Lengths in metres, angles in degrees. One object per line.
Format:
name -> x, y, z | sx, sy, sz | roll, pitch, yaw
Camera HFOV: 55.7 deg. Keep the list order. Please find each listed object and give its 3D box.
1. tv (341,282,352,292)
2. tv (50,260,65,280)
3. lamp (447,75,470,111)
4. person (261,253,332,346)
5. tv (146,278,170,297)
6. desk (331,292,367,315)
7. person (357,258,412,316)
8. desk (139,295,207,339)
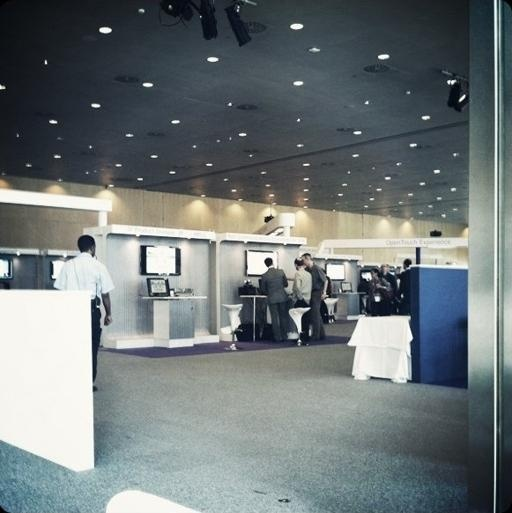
tv -> 3.210, 1.034, 17.150 | 0.280, 0.389, 0.636 | -1, -1, 23
tv -> -4.038, 0.249, 9.802 | 0.357, 0.493, 0.049 | 2, -2, -16
lamp -> 3.034, -2.434, 7.249 | 0.262, 0.584, 0.751 | -1, -1, 24
person -> 1.060, 0.831, 9.648 | 0.637, 1.735, 0.833 | -1, -1, -3
tv -> -1.883, 0.585, 9.371 | 0.430, 0.345, 0.338 | -1, -1, -14
desk -> 3.157, 1.612, 16.492 | 1.099, 1.173, 0.643 | 3, -6, -39
person -> 3.427, 0.858, 13.254 | 1.724, 1.431, 0.956 | 0, 0, -38
desk -> -1.581, 0.973, 9.148 | 0.868, 0.790, 0.748 | 1, -1, -33
